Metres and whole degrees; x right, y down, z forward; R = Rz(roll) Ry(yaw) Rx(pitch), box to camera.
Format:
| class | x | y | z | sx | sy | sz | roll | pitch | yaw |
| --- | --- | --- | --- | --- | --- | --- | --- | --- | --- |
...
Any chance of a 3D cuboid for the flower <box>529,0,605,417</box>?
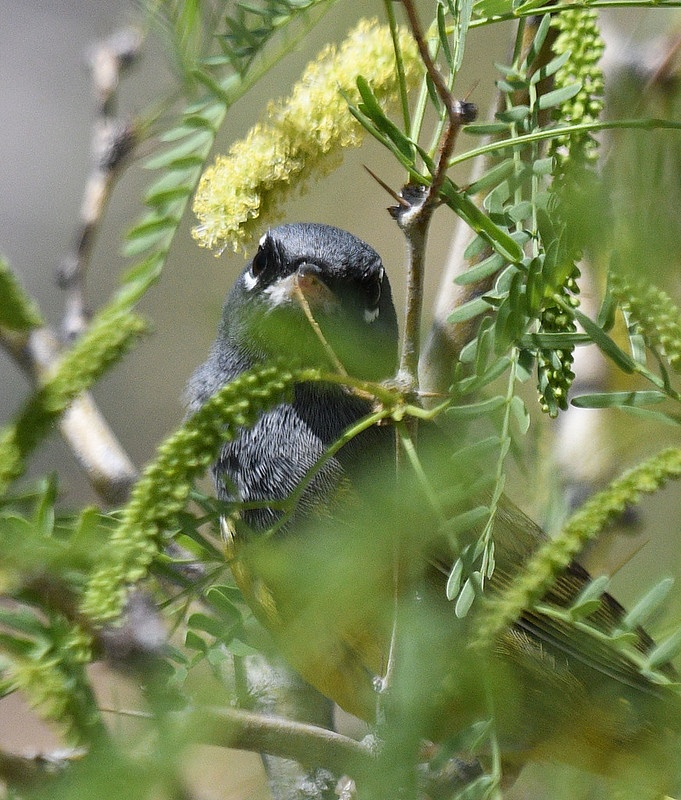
| class | x | y | z | sx | sy | sz | roll | pitch | yaw |
| --- | --- | --- | --- | --- | --- | --- | --- | --- | --- |
| flower | 0.204 | -0.175 | 0.947 | 0.067 | 0.386 | 0.089 | 4 | -1 | 8 |
